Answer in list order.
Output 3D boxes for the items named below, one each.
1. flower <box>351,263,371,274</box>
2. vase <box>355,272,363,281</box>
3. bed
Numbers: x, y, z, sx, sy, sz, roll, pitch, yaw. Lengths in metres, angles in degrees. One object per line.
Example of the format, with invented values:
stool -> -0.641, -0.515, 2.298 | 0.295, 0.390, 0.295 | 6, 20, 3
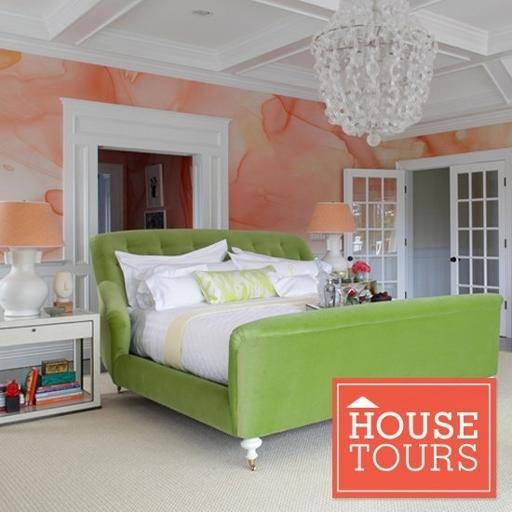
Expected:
flower -> 0.954, 0.106, 4.137 | 0.133, 0.115, 0.128 | 1, 5, 19
vase -> 0.921, 0.195, 4.012 | 0.070, 0.060, 0.067 | -1, -1, 16
bed -> -0.120, 0.591, 2.976 | 1.912, 0.933, 1.855 | 2, -6, -35
